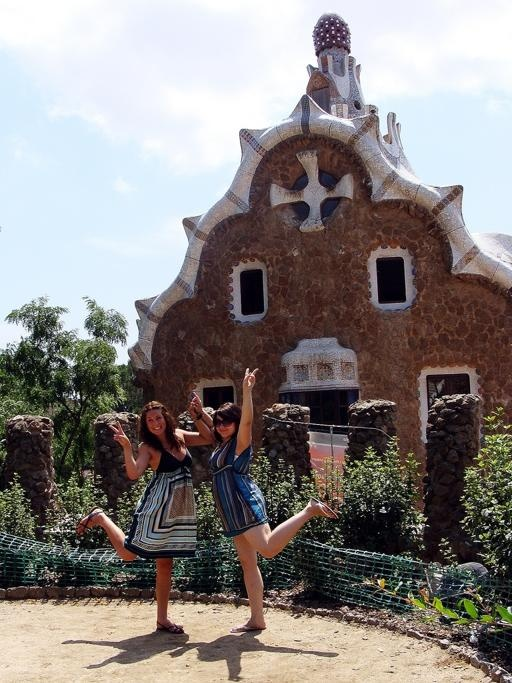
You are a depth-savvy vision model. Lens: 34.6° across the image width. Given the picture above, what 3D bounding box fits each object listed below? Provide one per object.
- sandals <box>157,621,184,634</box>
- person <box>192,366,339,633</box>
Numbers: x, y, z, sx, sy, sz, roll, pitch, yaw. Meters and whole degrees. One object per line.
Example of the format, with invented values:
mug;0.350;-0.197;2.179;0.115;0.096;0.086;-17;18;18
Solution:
sandals;-0.520;1.716;4.972;0.125;0.040;0.070;0;1;14
person;0.018;0.974;5.109;0.713;1.632;0.782;0;4;-14
